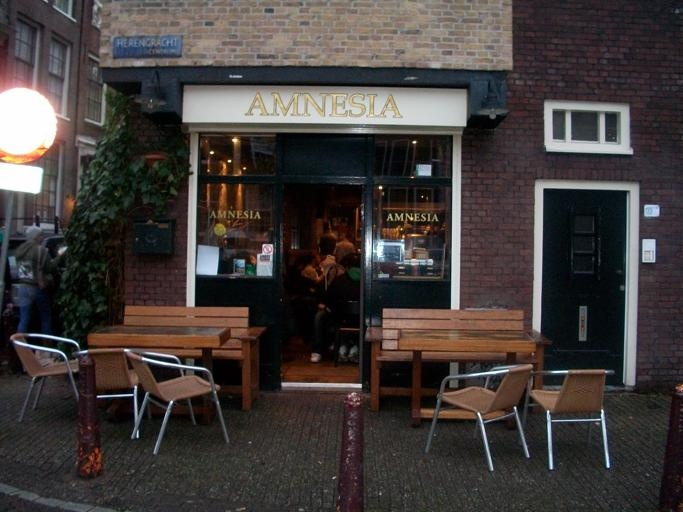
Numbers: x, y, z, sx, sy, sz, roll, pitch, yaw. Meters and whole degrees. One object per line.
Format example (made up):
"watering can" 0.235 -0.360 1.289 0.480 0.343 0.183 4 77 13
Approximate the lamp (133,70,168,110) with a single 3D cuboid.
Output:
"lamp" -2.602 -2.319 9.225 0.378 0.572 0.299 -6 5 -37

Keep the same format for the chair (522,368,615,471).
"chair" 2.652 1.704 7.696 0.963 1.158 1.030 -4 10 -24

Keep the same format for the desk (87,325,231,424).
"desk" -2.291 1.500 8.535 1.652 1.068 0.989 0 0 3

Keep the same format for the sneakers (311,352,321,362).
"sneakers" -0.407 1.625 10.769 0.213 0.158 0.183 1 0 -19

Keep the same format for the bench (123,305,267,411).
"bench" -2.074 1.336 9.106 1.835 1.228 0.821 2 3 3

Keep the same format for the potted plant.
"potted plant" -3.309 -0.615 9.850 1.892 3.817 0.695 1 0 28

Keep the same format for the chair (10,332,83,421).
"chair" -3.720 1.551 8.562 0.866 1.085 0.913 -4 3 -24

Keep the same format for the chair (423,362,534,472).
"chair" 1.689 1.782 8.034 1.137 1.208 1.704 1 0 14

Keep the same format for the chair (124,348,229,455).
"chair" -1.983 1.673 7.883 0.985 1.169 0.939 -3 4 -33

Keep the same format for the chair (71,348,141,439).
"chair" -2.748 1.616 7.771 0.881 1.158 0.762 0 15 -6
